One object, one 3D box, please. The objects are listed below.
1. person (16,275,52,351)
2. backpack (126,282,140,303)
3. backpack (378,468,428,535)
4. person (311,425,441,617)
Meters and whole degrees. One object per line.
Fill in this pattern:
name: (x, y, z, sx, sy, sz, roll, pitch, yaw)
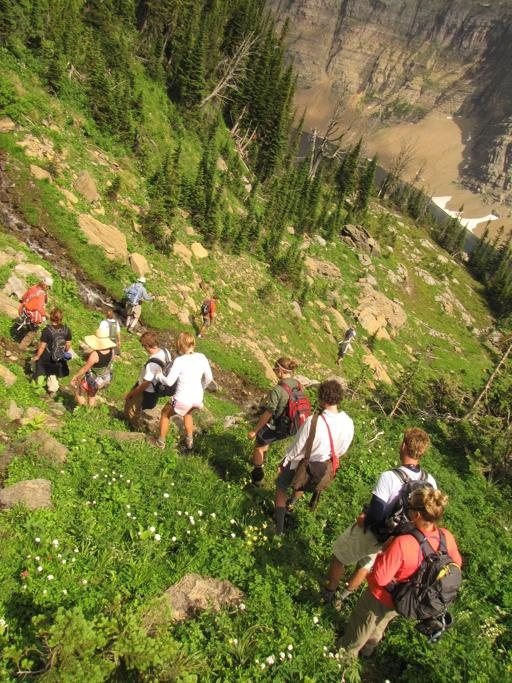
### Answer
person: (-5.249, -0.636, 13.716, 0.758, 1.852, 0.727, -32, 79, -40)
backpack: (-4.023, -1.573, 19.212, 0.379, 0.630, 0.472, 9, 27, -40)
backpack: (1.973, 2.245, 7.681, 0.457, 0.679, 0.690, -12, 26, 8)
person: (1.695, 2.738, 8.742, 1.119, 3.049, 1.418, 38, 19, 0)
